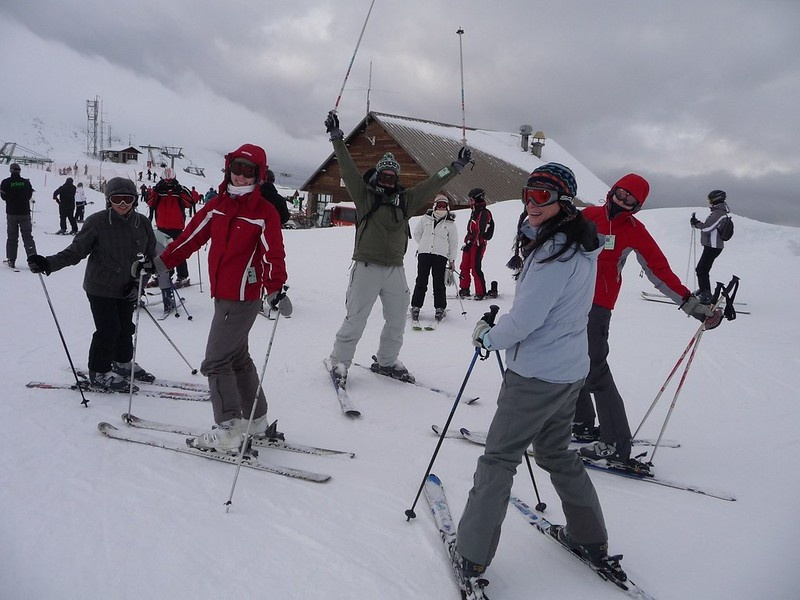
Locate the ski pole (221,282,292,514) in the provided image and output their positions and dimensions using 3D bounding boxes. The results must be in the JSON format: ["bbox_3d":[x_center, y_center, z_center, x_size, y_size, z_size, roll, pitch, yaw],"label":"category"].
[{"bbox_3d":[-1.303,0.913,5.803,0.066,1.839,0.256,13,-11,-10],"label":"ski pole"}]

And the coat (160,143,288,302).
[{"bbox_3d":[-1.457,-0.685,5.637,1.031,1.327,0.400,11,10,20],"label":"coat"}]

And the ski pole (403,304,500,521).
[{"bbox_3d":[0.502,1.115,6.378,0.190,1.740,0.197,24,9,1],"label":"ski pole"}]

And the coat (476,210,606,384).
[{"bbox_3d":[1.112,-0.129,4.769,0.732,1.267,0.907,21,38,32],"label":"coat"}]

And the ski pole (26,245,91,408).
[{"bbox_3d":[-4.186,0.357,7.886,0.234,1.900,0.247,-13,1,-4],"label":"ski pole"}]

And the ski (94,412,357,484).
[{"bbox_3d":[-1.584,1.307,5.669,1.415,0.171,0.206,14,18,9],"label":"ski"}]

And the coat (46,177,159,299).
[{"bbox_3d":[-2.982,-0.645,6.559,0.950,1.205,0.554,1,11,-32],"label":"coat"}]

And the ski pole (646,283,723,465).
[{"bbox_3d":[3.192,0.862,7.184,0.161,1.758,0.210,21,14,7],"label":"ski pole"}]

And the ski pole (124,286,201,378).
[{"bbox_3d":[-3.022,0.423,8.175,0.125,0.162,1.152,-18,72,-44],"label":"ski pole"}]

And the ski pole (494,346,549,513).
[{"bbox_3d":[0.901,0.949,4.733,0.149,1.486,0.204,-11,23,35],"label":"ski pole"}]

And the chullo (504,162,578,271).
[{"bbox_3d":[1.053,-0.510,5.011,0.563,1.084,0.367,11,19,20],"label":"chullo"}]

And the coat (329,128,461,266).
[{"bbox_3d":[-0.150,-1.039,7.130,1.331,1.280,0.366,6,9,-8],"label":"coat"}]
